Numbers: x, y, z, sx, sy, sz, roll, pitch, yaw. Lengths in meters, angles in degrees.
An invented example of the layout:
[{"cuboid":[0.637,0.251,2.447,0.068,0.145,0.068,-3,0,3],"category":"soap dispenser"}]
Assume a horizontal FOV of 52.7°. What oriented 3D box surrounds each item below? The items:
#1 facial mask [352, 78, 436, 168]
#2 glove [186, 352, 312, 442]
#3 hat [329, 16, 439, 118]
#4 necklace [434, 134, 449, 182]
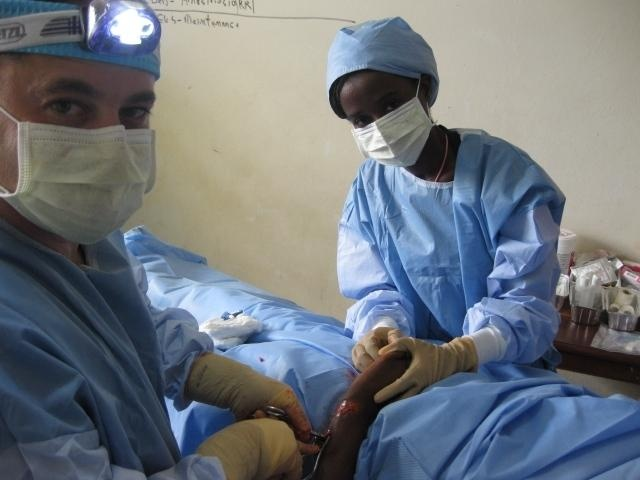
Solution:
[{"cuboid":[0.264,-0.359,2.349,0.183,0.309,0.236,42,-28,-24],"category":"facial mask"},{"cuboid":[-0.215,0.435,1.997,0.349,0.211,0.137,23,24,24],"category":"glove"},{"cuboid":[0.249,-0.613,2.366,0.265,0.258,0.339,-7,-12,25],"category":"hat"},{"cuboid":[0.455,-0.301,2.388,0.031,0.144,0.068,9,-12,-29],"category":"necklace"}]
